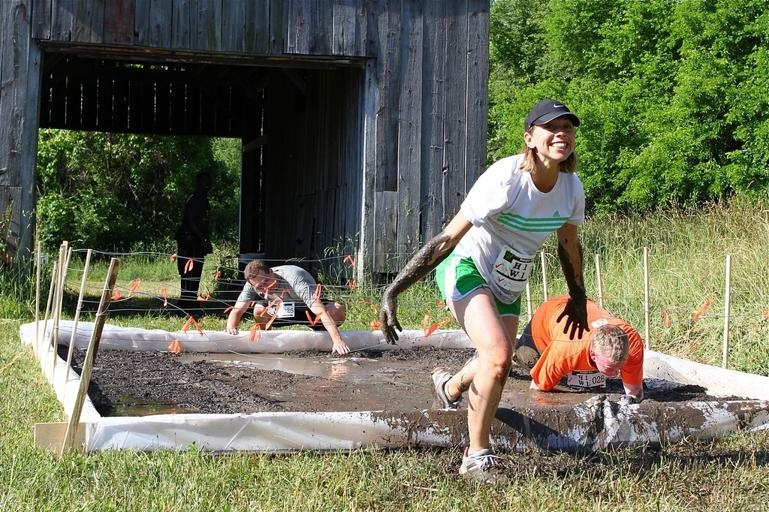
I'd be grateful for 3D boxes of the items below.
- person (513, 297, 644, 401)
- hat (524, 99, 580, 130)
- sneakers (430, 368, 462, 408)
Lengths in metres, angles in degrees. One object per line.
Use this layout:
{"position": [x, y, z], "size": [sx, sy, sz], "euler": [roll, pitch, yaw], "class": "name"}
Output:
{"position": [2.103, 0.936, 10.914], "size": [0.854, 0.755, 1.281], "euler": [-10, 20, -14], "class": "person"}
{"position": [1.569, -1.357, 9.465], "size": [0.290, 0.232, 0.401], "euler": [-6, -4, -35], "class": "hat"}
{"position": [0.615, 1.418, 10.230], "size": [0.160, 0.226, 0.539], "euler": [-1, 50, -11], "class": "sneakers"}
